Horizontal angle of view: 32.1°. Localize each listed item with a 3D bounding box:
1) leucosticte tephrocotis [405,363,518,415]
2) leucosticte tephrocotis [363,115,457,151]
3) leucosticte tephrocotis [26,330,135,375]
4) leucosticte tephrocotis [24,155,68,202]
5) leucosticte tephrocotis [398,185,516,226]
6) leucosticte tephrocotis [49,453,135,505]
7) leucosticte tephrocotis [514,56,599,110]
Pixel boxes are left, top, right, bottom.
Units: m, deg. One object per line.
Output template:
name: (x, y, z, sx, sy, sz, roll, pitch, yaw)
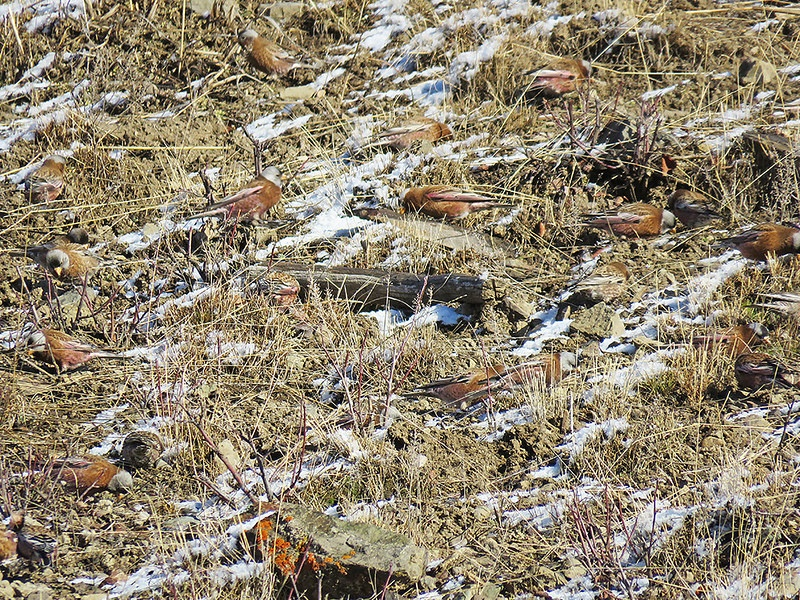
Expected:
leucosticte tephrocotis: (0.423, 0.640, 9.736, 0.873, 0.269, 0.383, 0, 90, -4)
leucosticte tephrocotis: (0.096, -1.363, 11.433, 0.777, 0.325, 0.261, 1, 32, -10)
leucosticte tephrocotis: (-2.207, 0.350, 9.899, 0.871, 0.271, 0.375, 4, 31, 3)
leucosticte tephrocotis: (-2.746, -0.950, 10.914, 0.225, 0.246, 0.394, 16, 59, 15)
leucosticte tephrocotis: (0.498, -0.709, 10.770, 0.969, 0.295, 0.345, -2, 78, 15)
leucosticte tephrocotis: (-2.043, 1.193, 9.256, 0.491, 0.196, 0.249, 22, 59, -31)
leucosticte tephrocotis: (1.209, -1.801, 11.663, 0.888, 0.274, 0.380, -3, 43, -4)
